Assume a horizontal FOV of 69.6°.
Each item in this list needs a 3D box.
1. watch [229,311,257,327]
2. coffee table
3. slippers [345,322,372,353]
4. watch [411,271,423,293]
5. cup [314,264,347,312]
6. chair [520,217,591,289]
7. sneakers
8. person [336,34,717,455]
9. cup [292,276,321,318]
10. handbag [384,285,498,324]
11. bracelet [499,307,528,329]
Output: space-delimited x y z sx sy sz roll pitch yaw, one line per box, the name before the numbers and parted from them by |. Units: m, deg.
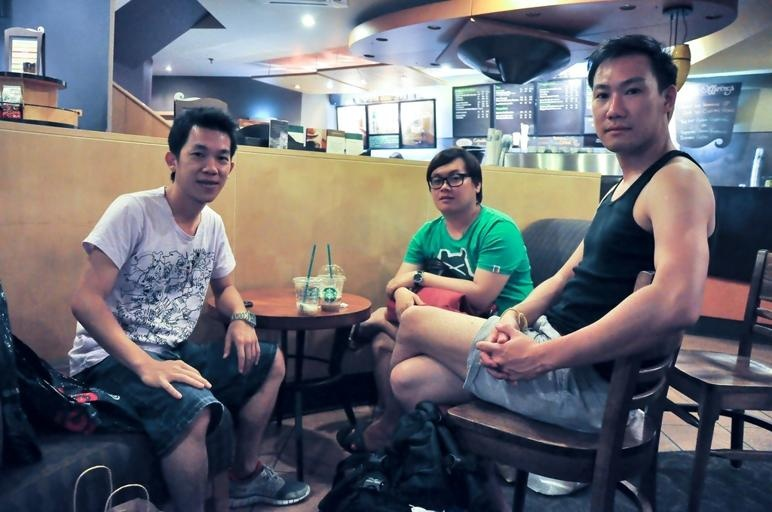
watch | -0.642 0.278 2.515 0.081 0.083 0.086 1 1 -1
coffee table | -0.427 0.649 3.110 0.955 0.980 0.918 8 16 31
slippers | -0.138 0.455 3.149 0.130 0.166 0.177 2 5 2
watch | 0.169 0.136 2.980 0.071 0.107 0.099 14 -11 11
cup | -0.275 0.155 2.797 0.163 0.222 0.167 1 -1 0
chair | 1.078 -0.075 3.263 0.277 0.377 0.540 13 15 17
sneakers | -0.541 1.063 2.622 0.398 0.162 0.154 2 -1 -13
person | 0.553 0.013 2.271 1.472 1.746 0.953 2 4 6
cup | -0.371 0.185 2.635 0.164 0.178 0.164 2 1 0
handbag | 0.381 0.215 2.880 0.458 0.138 0.373 5 6 5
bracelet | 0.532 0.266 2.334 0.030 0.089 0.084 -35 32 -2
